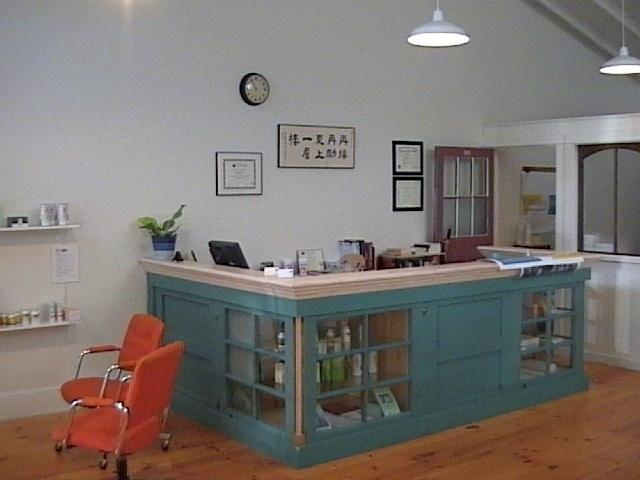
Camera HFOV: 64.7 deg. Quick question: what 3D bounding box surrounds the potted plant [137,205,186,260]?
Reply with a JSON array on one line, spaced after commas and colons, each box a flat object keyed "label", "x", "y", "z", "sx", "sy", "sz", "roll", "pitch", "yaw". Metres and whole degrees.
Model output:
[{"label": "potted plant", "x": -1.607, "y": -0.057, "z": 5.309, "sx": 0.516, "sy": 0.543, "sz": 0.490, "roll": 4, "pitch": -4, "yaw": -36}]

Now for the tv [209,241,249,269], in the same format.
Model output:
[{"label": "tv", "x": -0.829, "y": 0.121, "z": 4.673, "sx": 0.084, "sy": 0.265, "sz": 0.353, "roll": -30, "pitch": 23, "yaw": -37}]

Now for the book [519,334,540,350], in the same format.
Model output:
[{"label": "book", "x": 2.005, "y": 0.975, "z": 4.824, "sx": 0.139, "sy": 0.056, "sz": 0.145, "roll": -1, "pitch": 5, "yaw": -10}]

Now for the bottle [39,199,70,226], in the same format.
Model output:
[{"label": "bottle", "x": -2.490, "y": -0.236, "z": 4.719, "sx": 0.242, "sy": 0.205, "sz": 0.116, "roll": -3, "pitch": 4, "yaw": -32}]

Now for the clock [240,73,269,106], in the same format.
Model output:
[{"label": "clock", "x": -0.742, "y": -1.707, "z": 5.799, "sx": 0.321, "sy": 0.335, "sz": 0.308, "roll": 2, "pitch": 0, "yaw": -39}]

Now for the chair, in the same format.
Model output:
[{"label": "chair", "x": -1.648, "y": 1.020, "z": 4.107, "sx": 1.050, "sy": 1.333, "sz": 1.108, "roll": 4, "pitch": -4, "yaw": -37}]

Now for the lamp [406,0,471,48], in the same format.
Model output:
[{"label": "lamp", "x": 1.029, "y": -1.851, "z": 4.393, "sx": 0.446, "sy": 0.261, "sz": 0.474, "roll": -2, "pitch": 4, "yaw": -21}]

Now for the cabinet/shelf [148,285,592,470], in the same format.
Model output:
[{"label": "cabinet/shelf", "x": 0.287, "y": 0.774, "z": 4.415, "sx": 2.219, "sy": 0.861, "sz": 1.651, "roll": -4, "pitch": 6, "yaw": -40}]

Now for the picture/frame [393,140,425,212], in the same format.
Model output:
[{"label": "picture/frame", "x": 1.194, "y": -0.866, "z": 6.913, "sx": 0.506, "sy": 0.963, "sz": 0.029, "roll": -2, "pitch": 4, "yaw": -29}]
